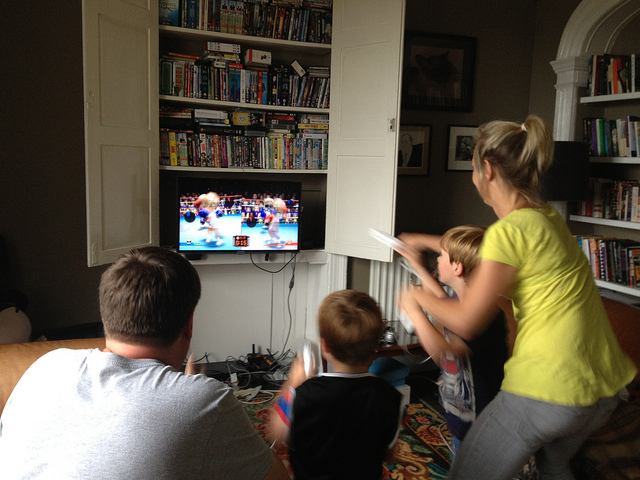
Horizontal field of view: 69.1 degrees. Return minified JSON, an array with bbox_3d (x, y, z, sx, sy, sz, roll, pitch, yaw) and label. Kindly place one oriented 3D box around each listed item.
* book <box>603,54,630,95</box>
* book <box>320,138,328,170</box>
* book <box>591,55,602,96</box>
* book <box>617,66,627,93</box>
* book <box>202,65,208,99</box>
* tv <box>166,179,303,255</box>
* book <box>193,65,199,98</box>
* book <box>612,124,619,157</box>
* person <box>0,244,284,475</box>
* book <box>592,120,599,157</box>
[{"bbox_3d":[2.225,-1.269,3.545,0.269,0.280,0.063,3,8,41],"label":"book"},{"bbox_3d":[0.040,-0.736,3.858,0.071,0.229,0.232,0,5,-4],"label":"book"},{"bbox_3d":[2.176,-1.300,3.639,0.061,0.304,0.035,3,7,27],"label":"book"},{"bbox_3d":[2.259,-1.206,3.455,0.029,0.141,0.133,0,5,-8],"label":"book"},{"bbox_3d":[-0.873,-1.220,3.555,0.046,0.244,0.011,-3,7,-17],"label":"book"},{"bbox_3d":[-0.610,-0.192,3.644,0.962,0.591,0.018,0,1,-9],"label":"tv"},{"bbox_3d":[-0.933,-1.217,3.526,0.037,0.180,0.170,3,7,-8],"label":"book"},{"bbox_3d":[2.251,-0.764,3.523,0.025,0.245,0.075,0,7,7],"label":"book"},{"bbox_3d":[-0.438,0.322,1.121,0.687,0.575,0.286,-1,7,-6],"label":"person"},{"bbox_3d":[2.162,-0.808,3.637,0.016,0.279,0.057,-3,7,-23],"label":"book"}]
